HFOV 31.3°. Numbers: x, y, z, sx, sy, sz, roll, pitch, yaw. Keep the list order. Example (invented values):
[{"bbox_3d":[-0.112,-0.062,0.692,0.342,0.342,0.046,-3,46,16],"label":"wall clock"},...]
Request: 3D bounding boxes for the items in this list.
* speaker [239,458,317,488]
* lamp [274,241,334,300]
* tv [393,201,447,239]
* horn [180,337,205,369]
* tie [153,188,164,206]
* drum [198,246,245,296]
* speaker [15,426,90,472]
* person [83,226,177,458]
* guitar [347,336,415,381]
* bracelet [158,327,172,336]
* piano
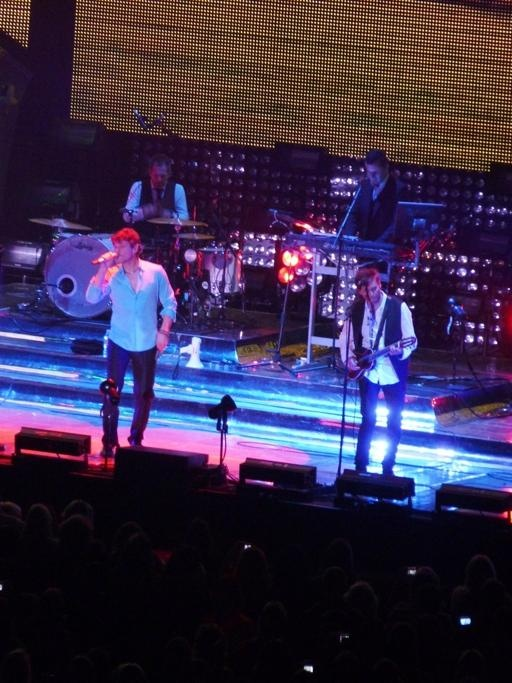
[{"bbox_3d":[0.116,0.702,4.794,0.387,0.142,0.217,7,-2,12],"label":"speaker"},{"bbox_3d":[0.401,-0.667,8.397,0.419,0.572,0.193,9,36,7],"label":"lamp"},{"bbox_3d":[1.192,-0.883,6.660,0.335,0.314,0.265,4,12,0],"label":"tv"},{"bbox_3d":[-0.538,0.102,7.748,0.218,0.261,0.255,7,-1,-2],"label":"horn"},{"bbox_3d":[-0.908,-1.336,8.453,0.090,0.155,0.038,5,33,2],"label":"tie"},{"bbox_3d":[-0.285,-0.644,8.353,0.416,0.391,0.417,5,10,25],"label":"drum"},{"bbox_3d":[-1.087,0.602,5.024,0.540,0.172,0.276,6,9,4],"label":"speaker"},{"bbox_3d":[-0.793,0.041,5.587,0.546,1.400,0.779,8,-1,-6],"label":"person"},{"bbox_3d":[0.765,0.104,5.670,0.425,0.244,0.125,6,-2,31],"label":"guitar"},{"bbox_3d":[-0.553,-0.058,5.533,0.047,0.018,0.047,30,2,10],"label":"bracelet"},{"bbox_3d":[0.711,-0.726,6.997,0.579,0.200,1.047,8,-2,-37],"label":"piano"}]
